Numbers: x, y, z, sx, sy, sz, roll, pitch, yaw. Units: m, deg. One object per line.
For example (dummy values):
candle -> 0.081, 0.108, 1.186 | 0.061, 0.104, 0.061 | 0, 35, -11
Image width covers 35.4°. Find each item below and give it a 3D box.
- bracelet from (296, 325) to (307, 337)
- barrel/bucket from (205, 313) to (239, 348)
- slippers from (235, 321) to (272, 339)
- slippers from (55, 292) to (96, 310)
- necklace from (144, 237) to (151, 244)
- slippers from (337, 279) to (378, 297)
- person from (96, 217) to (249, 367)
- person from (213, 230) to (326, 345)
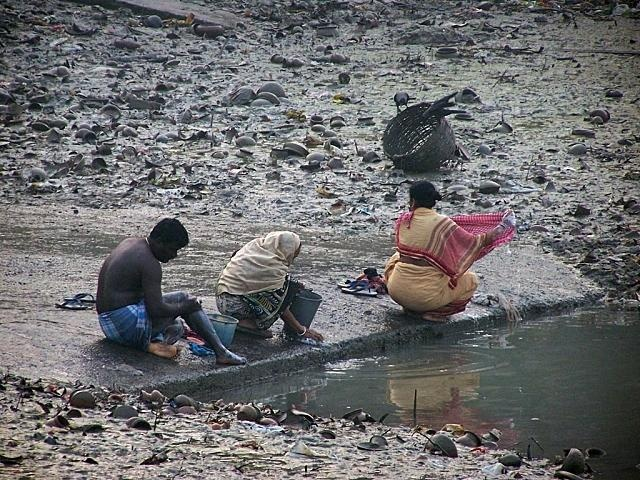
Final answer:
bracelet -> -0.179, 0.875, 9.598 | 0.046, 0.073, 0.083 | 9, -6, -12
barrel/bucket -> -0.895, 0.824, 9.274 | 0.414, 0.199, 0.338 | 6, -11, 7
slippers -> -0.586, 0.859, 9.591 | 0.460, 0.227, 0.107 | 2, 44, -7
slippers -> -2.350, 0.604, 9.742 | 0.256, 0.042, 0.234 | 14, 20, 30
necklace -> -1.569, 0.001, 9.047 | 0.063, 0.045, 0.033 | -21, -16, 15
slippers -> 0.355, 0.500, 10.515 | 0.403, 0.155, 0.284 | 10, 14, 38
person -> -1.438, 0.560, 9.069 | 1.135, 1.131, 0.389 | 0, 17, -9
person -> -0.190, 0.417, 9.689 | 1.155, 0.851, 1.336 | -7, 16, -41
